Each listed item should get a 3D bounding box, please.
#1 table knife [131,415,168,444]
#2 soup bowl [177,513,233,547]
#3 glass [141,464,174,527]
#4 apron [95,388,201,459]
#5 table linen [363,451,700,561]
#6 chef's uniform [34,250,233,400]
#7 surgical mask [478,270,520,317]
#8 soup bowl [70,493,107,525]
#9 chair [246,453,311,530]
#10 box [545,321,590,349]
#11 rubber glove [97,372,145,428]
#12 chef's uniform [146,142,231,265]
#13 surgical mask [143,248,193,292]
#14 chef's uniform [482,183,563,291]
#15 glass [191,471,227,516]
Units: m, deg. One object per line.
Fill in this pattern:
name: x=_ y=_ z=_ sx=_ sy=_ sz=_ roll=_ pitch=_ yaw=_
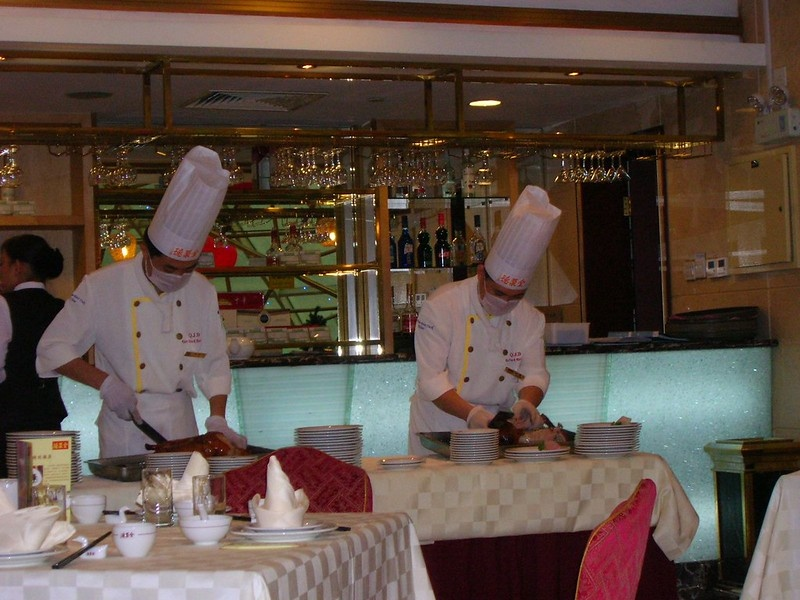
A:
table knife: x=-1.011 y=0.522 z=3.466 sx=0.188 sy=0.026 sz=0.033 roll=39 pitch=13 yaw=5
soup bowl: x=-0.461 y=0.551 z=2.068 sx=0.086 sy=0.045 sz=0.084 roll=2 pitch=2 yaw=0
glass: x=-0.658 y=0.530 z=2.310 sx=0.081 sy=0.132 sz=0.085 roll=0 pitch=0 yaw=33
apron: x=-1.039 y=0.503 z=3.553 sx=0.401 sy=0.353 sz=0.259 roll=0 pitch=-3 yaw=-16
table linen: x=0.452 y=0.733 z=3.188 sx=0.703 sy=0.163 sz=0.687 roll=-1 pitch=1 yaw=-20
chef's uniform: x=-1.089 y=0.136 z=3.641 sx=0.819 sy=0.635 sz=0.414 roll=3 pitch=11 yaw=-30
surgical mask: x=0.453 y=-0.032 z=3.837 sx=0.192 sy=0.212 sz=0.173 roll=-2 pitch=2 yaw=-3
soup bowl: x=-0.864 y=0.581 z=2.373 sx=0.084 sy=0.060 sz=0.083 roll=0 pitch=-5 yaw=0
chair: x=-0.300 y=0.482 z=2.130 sx=0.153 sy=0.182 sz=0.148 roll=1 pitch=-6 yaw=-27
box: x=0.993 y=0.203 z=5.074 sx=0.169 sy=0.095 sz=0.165 roll=0 pitch=0 yaw=-20
rubber glove: x=-1.105 y=0.397 z=3.421 sx=0.126 sy=0.213 sz=0.064 roll=-32 pitch=9 yaw=-1
chef's uniform: x=-0.870 y=-0.399 z=3.542 sx=0.338 sy=0.487 sz=0.191 roll=-3 pitch=2 yaw=-21
surgical mask: x=-0.972 y=-0.110 z=3.553 sx=0.166 sy=0.110 sz=0.198 roll=6 pitch=16 yaw=-42
chef's uniform: x=0.546 y=-0.287 z=3.906 sx=0.269 sy=0.487 sz=0.418 roll=-1 pitch=2 yaw=36
glass: x=-0.477 y=0.483 z=2.152 sx=0.100 sy=0.109 sz=0.098 roll=0 pitch=-2 yaw=-2
